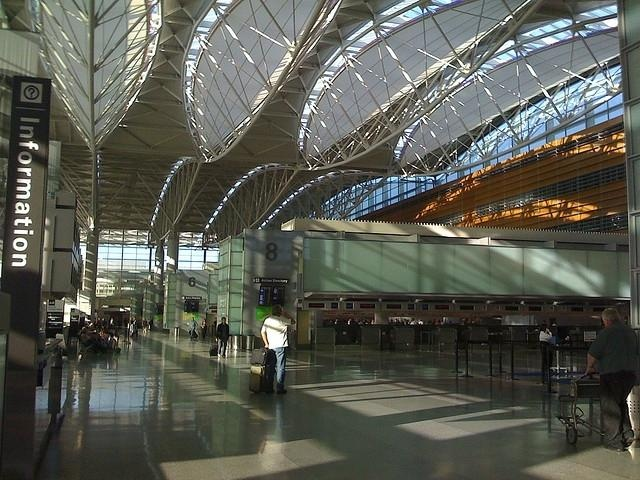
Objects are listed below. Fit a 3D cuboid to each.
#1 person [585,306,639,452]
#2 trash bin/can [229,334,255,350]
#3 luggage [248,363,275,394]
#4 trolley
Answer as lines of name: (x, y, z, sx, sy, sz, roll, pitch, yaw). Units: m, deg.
person: (4.951, 2.280, 9.106, 0.704, 2.212, 1.006, -5, -10, 35)
trash bin/can: (-4.562, 5.991, 31.517, 1.375, 0.788, 1.259, -1, -7, 8)
luggage: (-1.473, 3.452, 13.496, 0.622, 0.696, 0.426, 1, -8, 0)
trolley: (5.013, 3.121, 10.395, 0.690, 1.079, 1.837, 7, -1, 9)
